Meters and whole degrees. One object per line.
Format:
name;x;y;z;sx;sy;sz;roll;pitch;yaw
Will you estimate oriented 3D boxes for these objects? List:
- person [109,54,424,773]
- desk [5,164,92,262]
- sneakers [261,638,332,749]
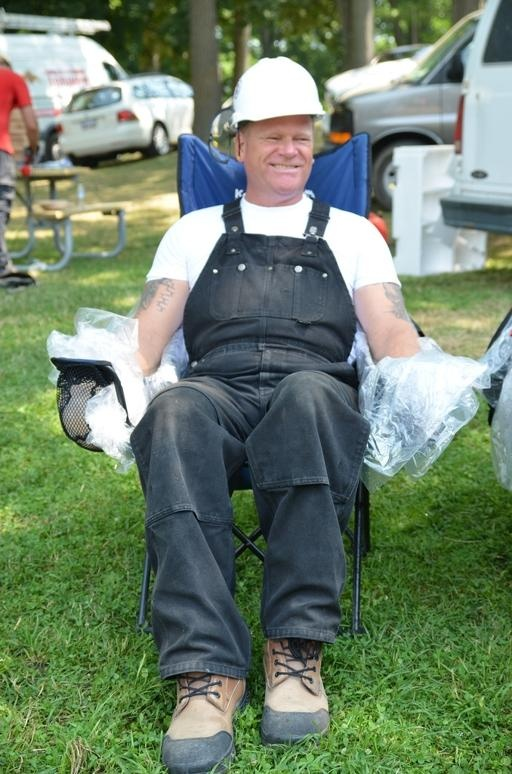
person;0.084;-0.098;1.968;0.800;1.471;1.215;-4;16;-10
desk;-1.765;-1.716;7.089;0.739;0.390;0.808;4;29;-35
sneakers;0.086;0.644;1.703;0.142;0.134;0.212;0;15;3
